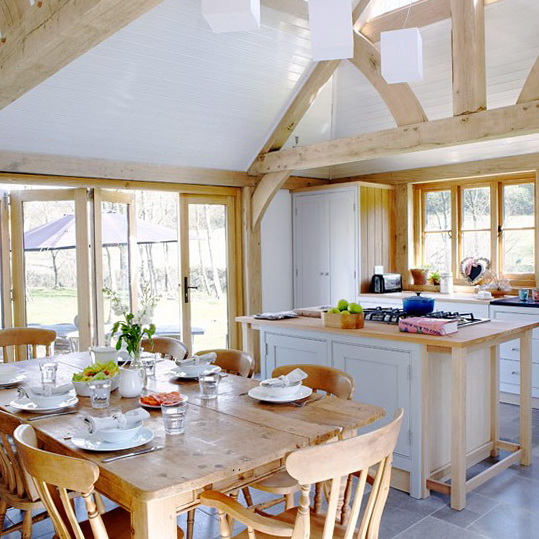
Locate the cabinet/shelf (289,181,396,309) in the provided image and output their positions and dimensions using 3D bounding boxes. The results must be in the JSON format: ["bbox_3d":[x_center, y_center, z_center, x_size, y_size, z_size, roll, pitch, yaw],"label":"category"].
[{"bbox_3d":[0.851,-0.253,6.141,1.184,1.537,0.658,0,3,7],"label":"cabinet/shelf"}]

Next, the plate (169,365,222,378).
[{"bbox_3d":[-0.402,0.545,2.624,0.129,0.018,0.128,-1,-1,40],"label":"plate"}]

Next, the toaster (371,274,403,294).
[{"bbox_3d":[1.413,0.168,5.942,0.398,0.226,0.270,0,2,-4],"label":"toaster"}]

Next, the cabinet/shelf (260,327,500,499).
[{"bbox_3d":[0.804,0.767,3.695,1.846,1.100,1.041,0,0,42],"label":"cabinet/shelf"}]

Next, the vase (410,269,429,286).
[{"bbox_3d":[1.826,0.098,6.137,0.217,0.171,0.183,2,-4,-19],"label":"vase"}]

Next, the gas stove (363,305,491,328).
[{"bbox_3d":[1.024,0.343,3.619,0.302,0.056,0.566,-1,1,-45],"label":"gas stove"}]

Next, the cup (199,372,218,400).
[{"bbox_3d":[-0.256,0.541,2.272,0.111,0.102,0.104,0,-4,0],"label":"cup"}]

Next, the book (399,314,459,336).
[{"bbox_3d":[0.999,0.360,3.147,0.201,0.088,0.320,-2,3,-41],"label":"book"}]

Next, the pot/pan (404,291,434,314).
[{"bbox_3d":[1.078,0.254,3.626,0.203,0.159,0.212,0,2,14],"label":"pot/pan"}]

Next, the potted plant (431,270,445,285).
[{"bbox_3d":[2.028,0.104,6.038,0.175,0.179,0.191,1,2,14],"label":"potted plant"}]
